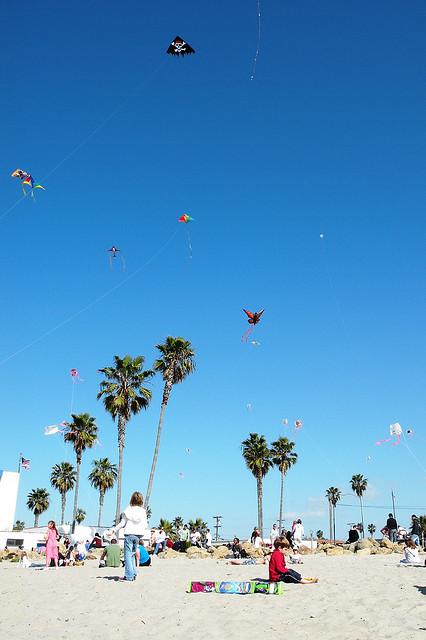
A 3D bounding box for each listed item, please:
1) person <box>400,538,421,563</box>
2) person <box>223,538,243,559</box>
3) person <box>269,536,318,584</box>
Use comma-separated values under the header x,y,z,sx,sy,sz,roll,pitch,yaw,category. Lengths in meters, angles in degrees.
x,y,z,sx,sy,sz,roll,pitch,yaw,category
5.926,6.904,15.292,0.504,0.707,2.123,-3,-19,19,person
0.844,9.192,20.459,0.583,0.737,0.983,6,-18,-8,person
1.550,5.125,10.862,0.747,0.946,1.225,-5,-20,25,person
